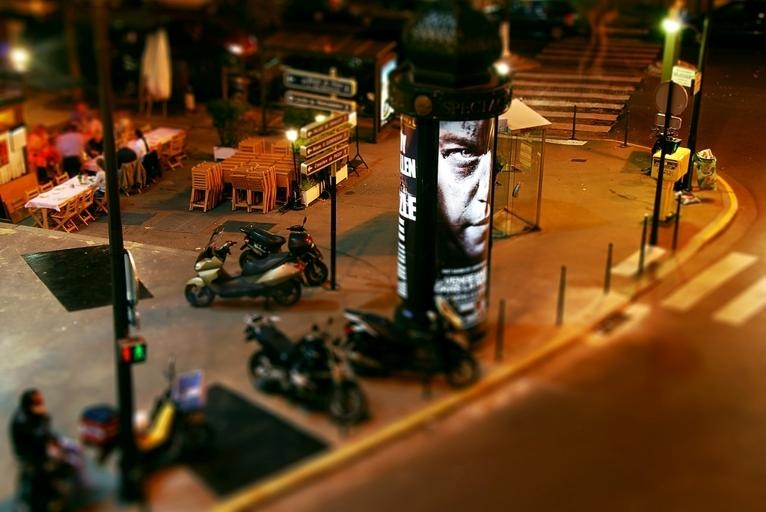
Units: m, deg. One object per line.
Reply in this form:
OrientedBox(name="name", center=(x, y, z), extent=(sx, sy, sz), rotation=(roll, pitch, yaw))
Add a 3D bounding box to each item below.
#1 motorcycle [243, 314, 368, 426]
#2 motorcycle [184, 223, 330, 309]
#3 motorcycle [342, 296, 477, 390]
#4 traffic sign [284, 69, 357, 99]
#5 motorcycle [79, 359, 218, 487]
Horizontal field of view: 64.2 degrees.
OrientedBox(name="motorcycle", center=(-1.406, 1.978, 11.018), extent=(2.469, 1.256, 0.772), rotation=(14, 29, 23))
OrientedBox(name="motorcycle", center=(-2.905, 0.333, 13.866), extent=(2.977, 1.331, 1.198), rotation=(1, 27, -1))
OrientedBox(name="motorcycle", center=(0.545, 1.632, 12.036), extent=(2.416, 1.531, 1.477), rotation=(1, 10, 0))
OrientedBox(name="traffic sign", center=(-1.235, -3.482, 12.391), extent=(1.472, 0.492, 0.444), rotation=(9, 28, 14))
OrientedBox(name="motorcycle", center=(-3.714, 2.586, 10.165), extent=(1.731, 0.943, 2.112), rotation=(20, 32, 32))
